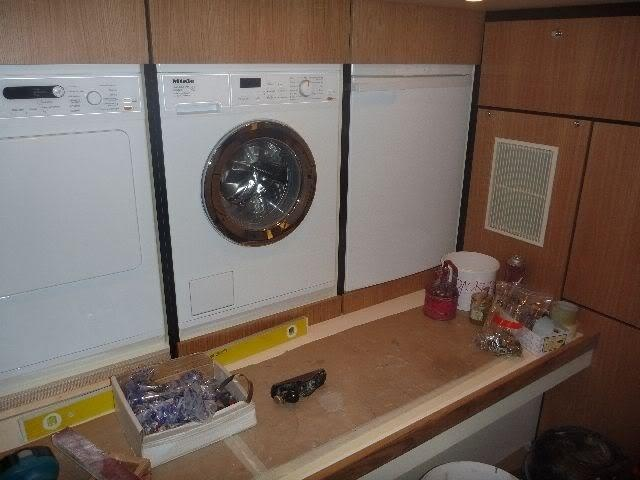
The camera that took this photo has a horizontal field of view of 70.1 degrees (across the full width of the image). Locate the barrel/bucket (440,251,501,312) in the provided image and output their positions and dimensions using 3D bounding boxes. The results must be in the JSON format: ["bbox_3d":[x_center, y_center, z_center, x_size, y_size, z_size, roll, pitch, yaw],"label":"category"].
[{"bbox_3d":[0.937,0.205,2.844,0.362,0.284,0.322,-8,18,-24],"label":"barrel/bucket"}]

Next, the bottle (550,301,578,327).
[{"bbox_3d":[1.351,0.416,2.544,0.128,0.103,0.127,9,25,29],"label":"bottle"}]

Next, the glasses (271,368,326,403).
[{"bbox_3d":[-0.096,0.685,2.146,0.200,0.058,0.122,-18,16,-35],"label":"glasses"}]
